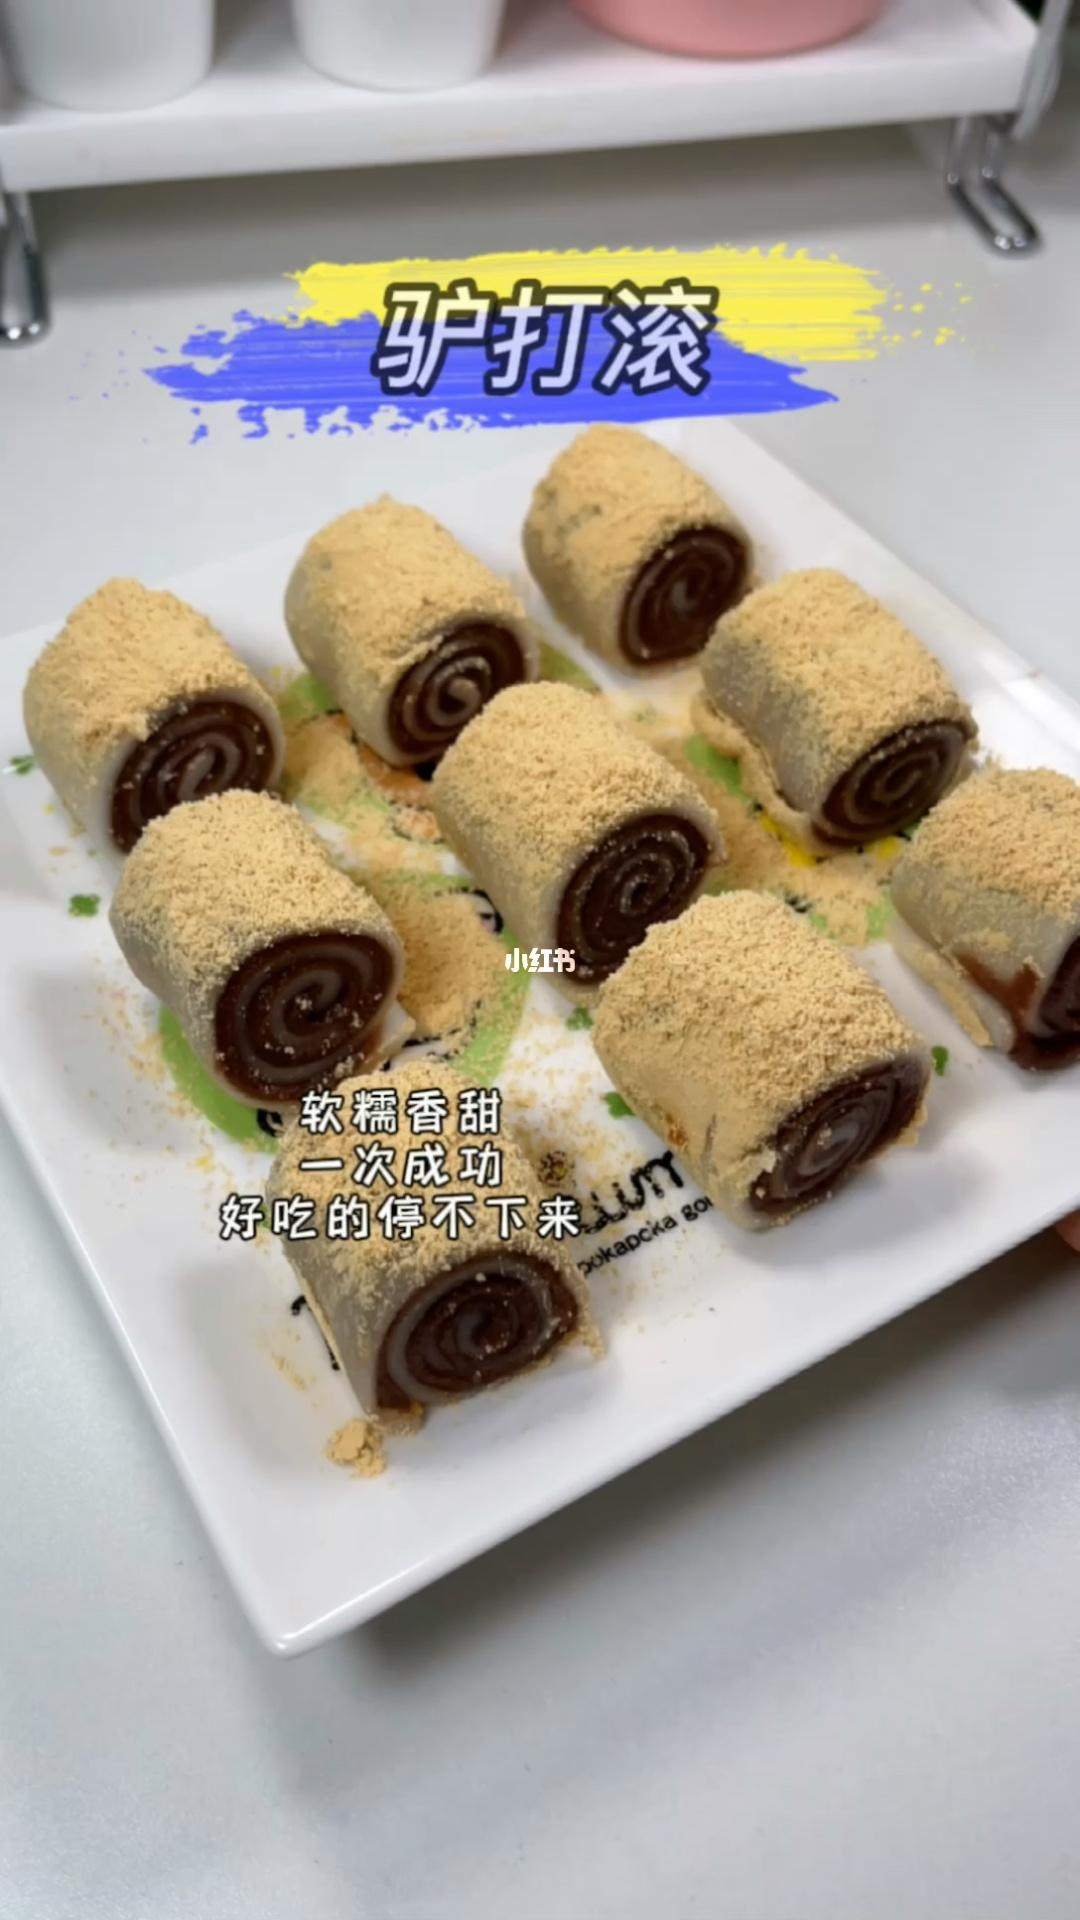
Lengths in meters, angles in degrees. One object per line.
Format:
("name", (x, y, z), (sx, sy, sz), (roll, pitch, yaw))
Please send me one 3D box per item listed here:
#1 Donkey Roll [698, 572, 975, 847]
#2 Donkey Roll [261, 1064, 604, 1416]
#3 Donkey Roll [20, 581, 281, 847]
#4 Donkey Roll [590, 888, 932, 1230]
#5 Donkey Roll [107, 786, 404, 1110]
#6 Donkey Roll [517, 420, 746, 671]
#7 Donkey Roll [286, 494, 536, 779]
("Donkey Roll", (0.249, -0.218, 1.317), (0.163, 0.148, 0.209), (-25, 53, -9))
("Donkey Roll", (-0.066, 0.163, 0.919), (0.159, 0.106, 0.204), (-18, 52, -20))
("Donkey Roll", (-0.301, -0.192, 1.299), (0.187, 0.209, 0.242), (-15, 38, -15))
("Donkey Roll", (0.151, 0.061, 1.077), (0.193, 0.146, 0.204), (-1, 37, 1))
("Donkey Roll", (-0.208, -0.012, 1.151), (0.169, 0.181, 0.204), (-24, 39, -27))
("Donkey Roll", (0.084, -0.388, 1.439), (0.179, 0.185, 0.225), (-29, 52, -10))
("Donkey Roll", (-0.135, -0.275, 1.349), (0.158, 0.165, 0.190), (-26, 52, -22))
